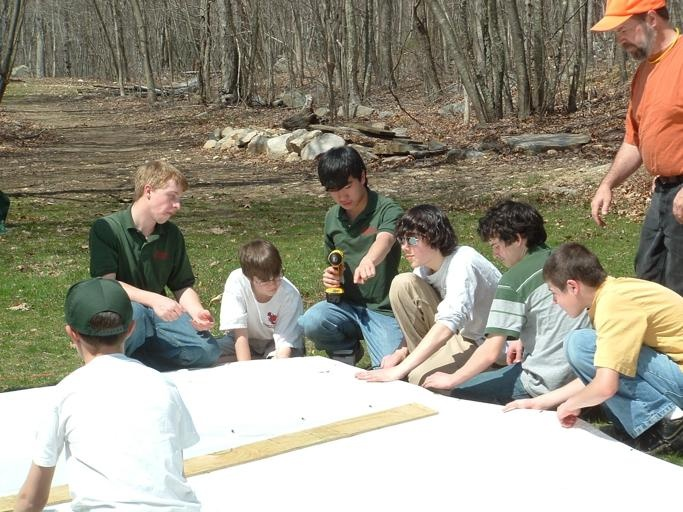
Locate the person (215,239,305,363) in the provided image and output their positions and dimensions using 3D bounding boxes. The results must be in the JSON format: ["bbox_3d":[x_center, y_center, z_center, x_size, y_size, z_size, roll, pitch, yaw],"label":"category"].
[{"bbox_3d":[-0.650,0.267,6.837,0.790,0.924,0.951,-3,32,-8],"label":"person"}]

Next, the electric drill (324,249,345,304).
[{"bbox_3d":[-0.056,0.163,6.879,0.160,0.419,0.184,-6,8,1],"label":"electric drill"}]

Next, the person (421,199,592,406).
[{"bbox_3d":[1.254,0.323,6.065,1.376,1.300,1.040,-10,6,-36],"label":"person"}]
